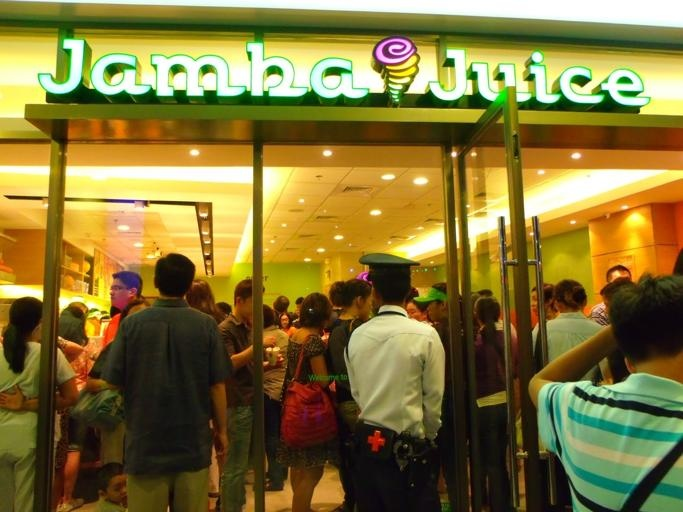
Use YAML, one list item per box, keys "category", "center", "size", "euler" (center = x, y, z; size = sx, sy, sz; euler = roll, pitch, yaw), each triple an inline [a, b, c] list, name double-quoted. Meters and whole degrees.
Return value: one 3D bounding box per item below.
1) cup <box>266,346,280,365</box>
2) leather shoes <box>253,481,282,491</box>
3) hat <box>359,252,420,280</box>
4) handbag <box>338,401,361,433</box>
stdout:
- category: "cup"
  center: [-0.484, 0.704, 4.032]
  size: [0.092, 0.123, 0.119]
  euler: [-2, -6, 16]
- category: "leather shoes"
  center: [-0.521, 1.591, 4.056]
  size: [0.215, 0.090, 0.075]
  euler: [7, -11, -11]
- category: "hat"
  center: [0.295, 0.052, 3.651]
  size: [0.227, 0.087, 0.200]
  euler: [-11, -9, 39]
- category: "handbag"
  center: [0.054, 1.093, 4.028]
  size: [0.167, 0.338, 0.193]
  euler: [-2, -4, 1]
